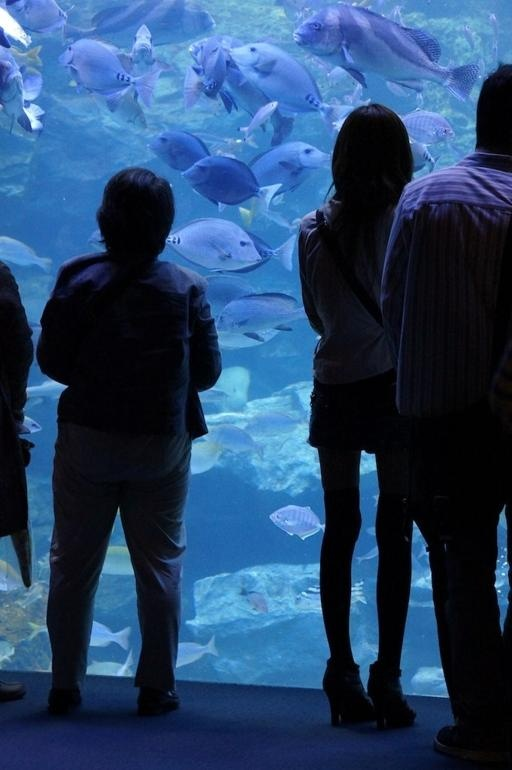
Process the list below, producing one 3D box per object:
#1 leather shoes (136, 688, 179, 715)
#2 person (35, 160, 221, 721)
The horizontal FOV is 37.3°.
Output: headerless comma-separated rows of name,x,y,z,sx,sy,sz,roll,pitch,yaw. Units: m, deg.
leather shoes,-0.299,0.979,2.340,0.138,0.072,0.119,3,-10,-16
person,-0.423,0.159,2.493,0.603,1.737,0.303,1,-10,-7
